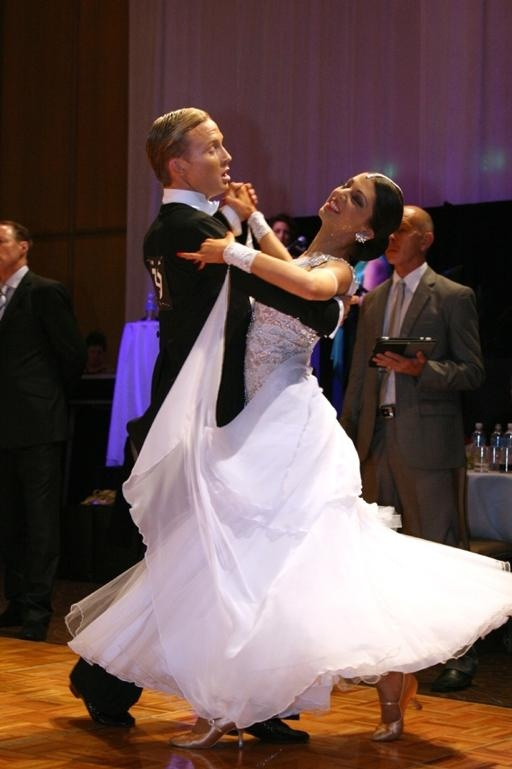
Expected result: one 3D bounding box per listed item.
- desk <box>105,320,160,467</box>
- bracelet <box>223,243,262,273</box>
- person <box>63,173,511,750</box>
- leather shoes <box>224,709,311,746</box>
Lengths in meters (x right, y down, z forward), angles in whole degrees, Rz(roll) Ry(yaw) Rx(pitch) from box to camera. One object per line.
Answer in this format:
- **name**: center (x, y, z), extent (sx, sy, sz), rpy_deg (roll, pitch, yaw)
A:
- **desk**: center (-0.860, 0.024, 4.991), extent (0.299, 0.850, 0.296), rpy_deg (15, 4, -29)
- **bracelet**: center (-0.034, -0.257, 1.544), extent (0.072, 0.048, 0.031), rpy_deg (23, 5, 39)
- **person**: center (0.009, 0.201, 2.252), extent (1.324, 1.583, 1.009), rpy_deg (2, -5, -19)
- **leather shoes**: center (0.027, 0.815, 1.835), extent (0.206, 0.078, 0.073), rpy_deg (-3, -6, 3)
